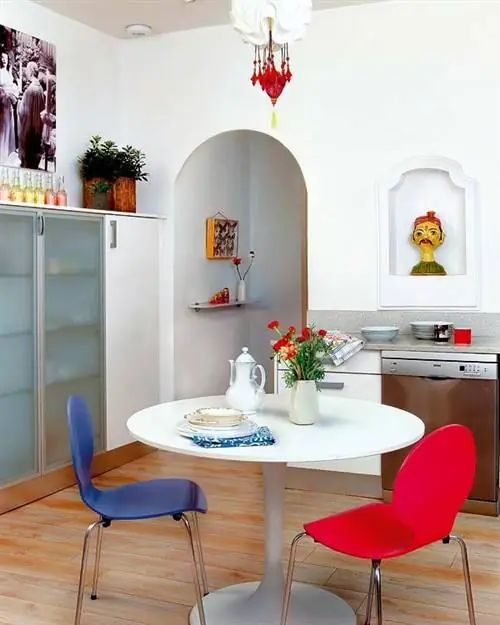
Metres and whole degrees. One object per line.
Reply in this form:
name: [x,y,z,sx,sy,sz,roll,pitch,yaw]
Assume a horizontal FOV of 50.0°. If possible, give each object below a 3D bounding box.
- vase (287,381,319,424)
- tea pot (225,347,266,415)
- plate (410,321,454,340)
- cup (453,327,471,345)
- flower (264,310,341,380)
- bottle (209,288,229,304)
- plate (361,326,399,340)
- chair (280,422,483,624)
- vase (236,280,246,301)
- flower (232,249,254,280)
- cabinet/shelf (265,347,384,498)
vase: [0.159,0.264,1.592,0.085,0.129,0.093,0,3,4]
tea pot: [-0.011,0.219,1.687,0.138,0.209,0.115,6,6,43]
plate: [1.033,0.104,3.056,0.220,0.096,0.329,1,4,21]
cup: [1.132,0.126,2.873,0.086,0.098,0.097,3,3,28]
flower: [0.141,0.151,1.652,0.203,0.218,0.192,2,-4,-25]
bottle: [-0.269,-0.145,4.737,0.067,0.102,0.246,3,8,16]
plate: [0.746,0.124,3.108,0.200,0.078,0.227,1,3,13]
chair: [0.331,0.507,1.329,0.381,0.551,0.410,3,4,44]
vase: [-0.088,-0.206,5.190,0.091,0.216,0.284,0,3,-1]
flower: [-0.069,-0.479,5.329,0.151,0.312,0.565,0,3,9]
cabinet/shelf: [0.447,0.802,3.418,0.793,0.619,1.086,-16,-28,14]
